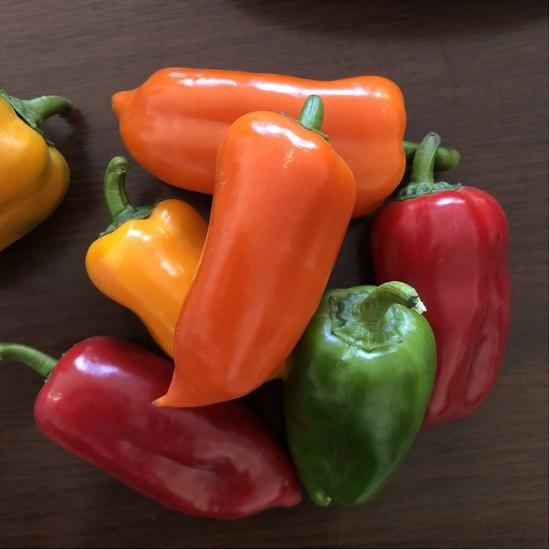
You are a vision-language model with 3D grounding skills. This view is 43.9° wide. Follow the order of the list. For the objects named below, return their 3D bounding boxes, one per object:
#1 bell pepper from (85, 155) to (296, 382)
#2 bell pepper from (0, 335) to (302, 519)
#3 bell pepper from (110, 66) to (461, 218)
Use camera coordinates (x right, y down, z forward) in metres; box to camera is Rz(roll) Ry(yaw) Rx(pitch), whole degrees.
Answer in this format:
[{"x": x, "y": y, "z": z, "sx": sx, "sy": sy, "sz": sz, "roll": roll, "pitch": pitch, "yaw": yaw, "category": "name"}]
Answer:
[{"x": -0.212, "y": -0.029, "z": 1.299, "sx": 0.262, "sy": 0.178, "sz": 0.487, "roll": -43, "pitch": 80, "yaw": 2, "category": "bell pepper"}, {"x": -0.168, "y": 0.282, "z": 1.291, "sx": 0.689, "sy": 0.218, "sz": 0.181, "roll": 20, "pitch": 39, "yaw": -9, "category": "bell pepper"}, {"x": 0.011, "y": -0.249, "z": 1.168, "sx": 0.517, "sy": 0.213, "sz": 0.172, "roll": 10, "pitch": 70, "yaw": -5, "category": "bell pepper"}]
